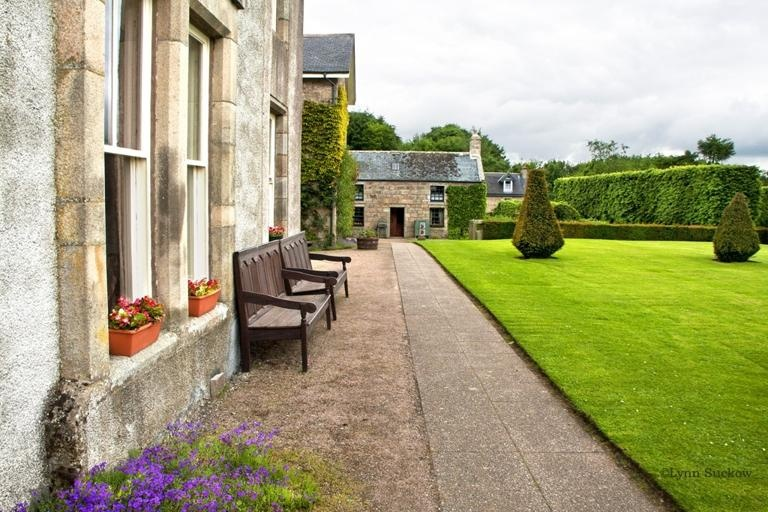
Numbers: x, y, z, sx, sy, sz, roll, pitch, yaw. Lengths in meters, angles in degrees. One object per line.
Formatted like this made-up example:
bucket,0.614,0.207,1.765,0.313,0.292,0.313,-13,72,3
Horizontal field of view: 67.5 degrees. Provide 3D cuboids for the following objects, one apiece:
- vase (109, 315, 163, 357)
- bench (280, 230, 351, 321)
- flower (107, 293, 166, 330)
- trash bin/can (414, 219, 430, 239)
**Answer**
vase,-2.006,0.662,4.657,0.174,0.251,0.402,7,14,27
bench,-1.129,0.324,9.409,0.786,1.120,1.863,-1,4,5
flower,-2.036,0.478,4.703,0.386,0.236,0.483,9,10,16
trash bin/can,2.293,-1.646,35.227,0.976,1.007,0.670,1,13,3
